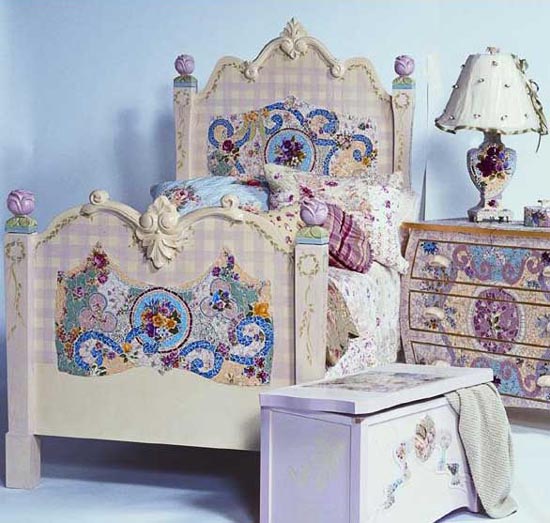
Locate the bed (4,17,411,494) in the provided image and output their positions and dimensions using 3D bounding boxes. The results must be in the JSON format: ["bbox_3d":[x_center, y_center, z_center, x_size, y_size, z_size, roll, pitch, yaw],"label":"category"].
[{"bbox_3d":[0.165,-0.276,3.580,1.407,2.152,2.327,1,4,14],"label":"bed"}]

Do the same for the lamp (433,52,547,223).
[{"bbox_3d":[0.964,-0.576,3.618,0.488,0.777,0.313,1,7,3],"label":"lamp"}]
